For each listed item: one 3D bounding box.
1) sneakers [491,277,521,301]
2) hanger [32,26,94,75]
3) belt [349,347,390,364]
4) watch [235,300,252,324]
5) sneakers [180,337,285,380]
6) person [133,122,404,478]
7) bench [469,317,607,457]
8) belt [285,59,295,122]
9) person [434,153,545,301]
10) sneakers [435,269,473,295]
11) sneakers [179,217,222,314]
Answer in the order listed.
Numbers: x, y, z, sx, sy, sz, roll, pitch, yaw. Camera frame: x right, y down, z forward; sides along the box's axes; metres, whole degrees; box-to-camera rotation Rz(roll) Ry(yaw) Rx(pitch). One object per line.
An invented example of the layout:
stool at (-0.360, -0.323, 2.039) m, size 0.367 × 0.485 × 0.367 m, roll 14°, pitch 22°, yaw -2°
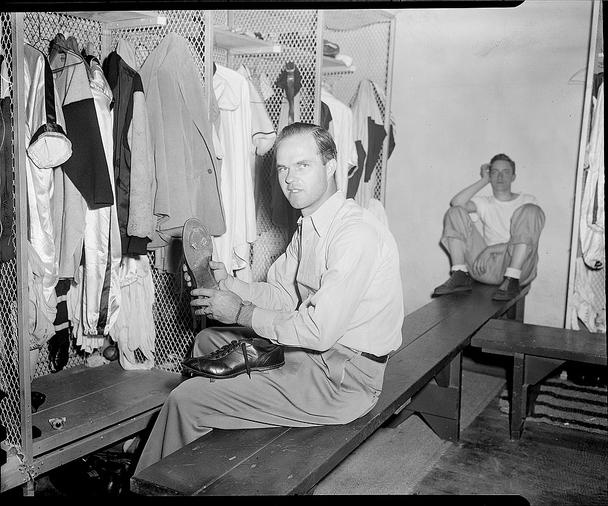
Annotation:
sneakers at (1.704, 0.309, 4.655) m, size 0.136 × 0.194 × 0.401 m, roll 5°, pitch 1°, yaw 40°
hanger at (-1.191, -0.998, 2.767) m, size 0.178 × 0.279 × 0.084 m, roll 0°, pitch -14°, yaw -2°
belt at (0.288, 0.426, 2.273) m, size 0.101 × 0.036 × 0.081 m, roll 17°, pitch 4°, yaw -9°
watch at (-0.223, 0.226, 2.113) m, size 0.052 × 0.081 × 0.024 m, roll 3°, pitch -14°, yaw 29°
sneakers at (-0.259, 0.393, 2.069) m, size 0.369 × 0.180 × 0.156 m, roll 1°, pitch -2°, yaw -9°
person at (-0.134, 0.296, 2.308) m, size 0.966 × 1.641 × 0.622 m, roll 6°, pitch 7°, yaw -14°
bench at (1.333, 0.616, 3.529) m, size 0.954 × 0.738 × 0.882 m, roll 2°, pitch 15°, yaw 17°
belt at (-0.100, -1.177, 4.094) m, size 0.087 × 0.435 × 0.035 m, roll 3°, pitch 6°, yaw 22°
person at (1.759, -0.308, 5.164) m, size 1.009 × 1.399 × 1.107 m, roll 3°, pitch -1°, yaw -12°
sneakers at (1.364, 0.248, 5.031) m, size 0.494 × 0.279 × 0.172 m, roll -4°, pitch 6°, yaw -33°
sneakers at (-0.420, 0.054, 2.321) m, size 0.106 × 0.362 × 0.123 m, roll -19°, pitch 13°, yaw -35°
